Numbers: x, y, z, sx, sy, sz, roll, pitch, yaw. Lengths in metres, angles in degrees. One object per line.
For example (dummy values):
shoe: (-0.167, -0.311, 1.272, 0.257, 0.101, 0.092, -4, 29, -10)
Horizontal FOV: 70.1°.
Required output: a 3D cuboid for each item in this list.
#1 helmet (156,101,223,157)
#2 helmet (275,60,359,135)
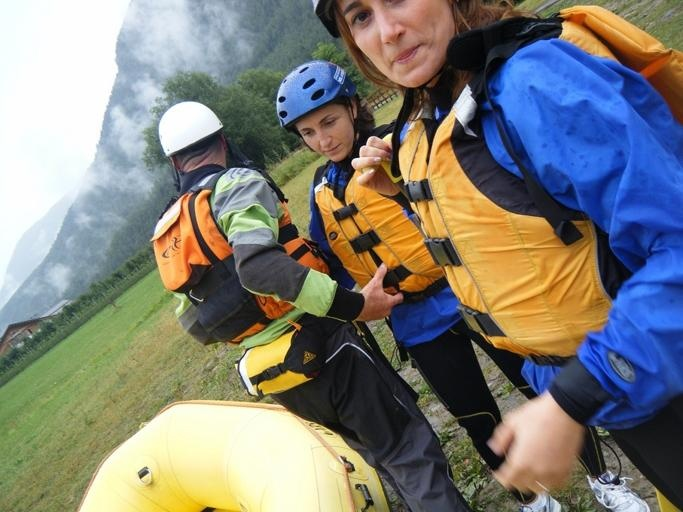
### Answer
helmet: (-1.256, -1.050, 4.035, 0.444, 0.470, 0.494, -30, 17, -5)
helmet: (-0.132, -1.150, 3.528, 0.395, 0.306, 0.562, -23, -1, 34)
